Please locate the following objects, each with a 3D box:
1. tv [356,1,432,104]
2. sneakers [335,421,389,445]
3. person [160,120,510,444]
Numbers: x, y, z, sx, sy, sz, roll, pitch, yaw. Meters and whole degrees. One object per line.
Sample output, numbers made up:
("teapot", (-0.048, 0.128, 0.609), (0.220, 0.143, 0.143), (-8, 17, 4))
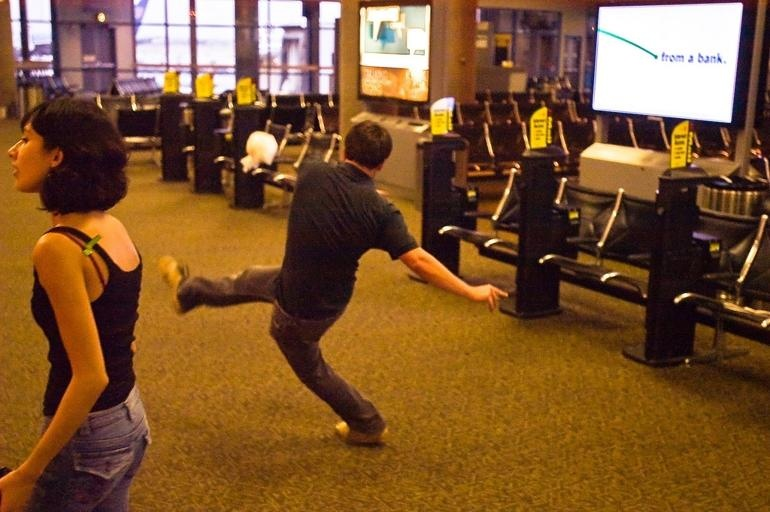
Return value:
("tv", (0.190, -3.490, 9.705), (0.279, 1.788, 2.059), (-9, 15, -44))
("sneakers", (-0.141, 1.082, 3.557), (0.304, 0.180, 0.134), (10, 25, 8))
("person", (-0.133, 0.253, 3.120), (0.944, 1.904, 0.412), (1, 15, 4))
